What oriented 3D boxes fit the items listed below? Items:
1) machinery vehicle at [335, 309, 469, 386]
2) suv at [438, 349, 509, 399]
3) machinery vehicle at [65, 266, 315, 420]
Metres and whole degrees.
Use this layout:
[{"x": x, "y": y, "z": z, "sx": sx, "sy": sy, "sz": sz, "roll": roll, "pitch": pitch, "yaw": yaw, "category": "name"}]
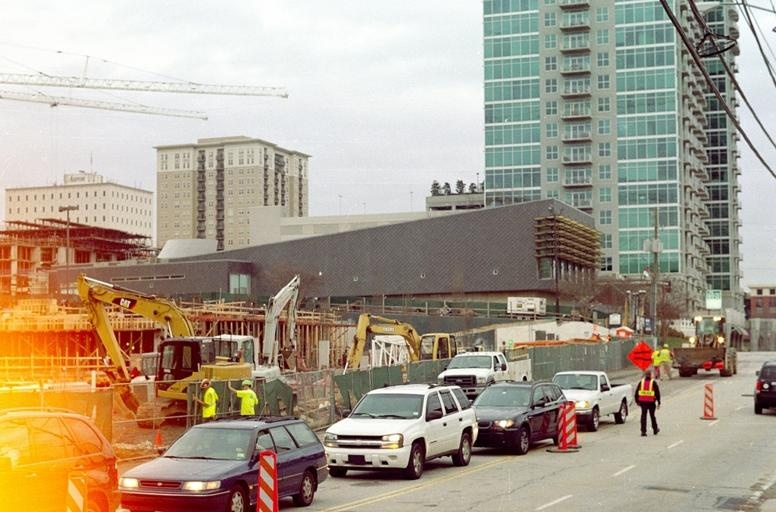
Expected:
[{"x": 0.968, "y": 5.450, "z": 72.272, "sx": 7.371, "sy": 3.547, "sz": 2.033, "roll": 0, "pitch": 3, "yaw": -20, "category": "machinery vehicle"}, {"x": 5.184, "y": 6.957, "z": 66.540, "sx": 2.136, "sy": 2.247, "sz": 5.160, "roll": -2, "pitch": -4, "yaw": 26, "category": "suv"}, {"x": -13.250, "y": 5.163, "z": 71.308, "sx": 13.774, "sy": 9.872, "sz": 33.112, "roll": -3, "pitch": -7, "yaw": -1, "category": "machinery vehicle"}]
